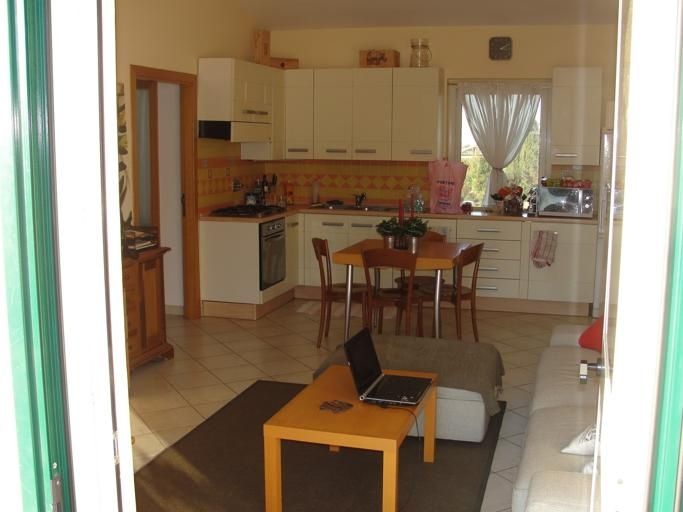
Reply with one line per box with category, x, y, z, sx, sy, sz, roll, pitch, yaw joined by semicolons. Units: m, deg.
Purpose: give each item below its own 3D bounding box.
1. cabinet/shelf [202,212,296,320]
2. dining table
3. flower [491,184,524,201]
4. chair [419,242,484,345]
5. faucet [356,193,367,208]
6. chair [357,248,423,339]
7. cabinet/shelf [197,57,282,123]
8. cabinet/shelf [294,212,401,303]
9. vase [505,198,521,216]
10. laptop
cabinet/shelf;-0.967;0.063;6.457;0.674;1.109;1.323;3;7;12
dining table;0.522;0.274;5.119;0.888;0.841;1.139;3;13;14
flower;1.926;-0.707;6.443;0.255;0.113;0.259;-4;2;-21
chair;0.927;0.290;4.973;0.591;0.840;0.607;13;-10;7
faucet;0.240;-0.680;6.913;0.108;0.149;0.283;1;10;6
chair;0.429;0.346;4.794;0.524;0.895;0.582;1;10;0
cabinet/shelf;-1.068;-1.778;6.260;0.415;0.640;1.206;9;14;15
cabinet/shelf;-0.103;-0.024;6.872;1.112;1.068;0.601;1;7;-33
vase;1.917;-0.546;6.254;0.195;0.177;0.332;3;10;15
laptop;0.250;0.557;2.869;0.435;0.286;0.522;-1;2;6
